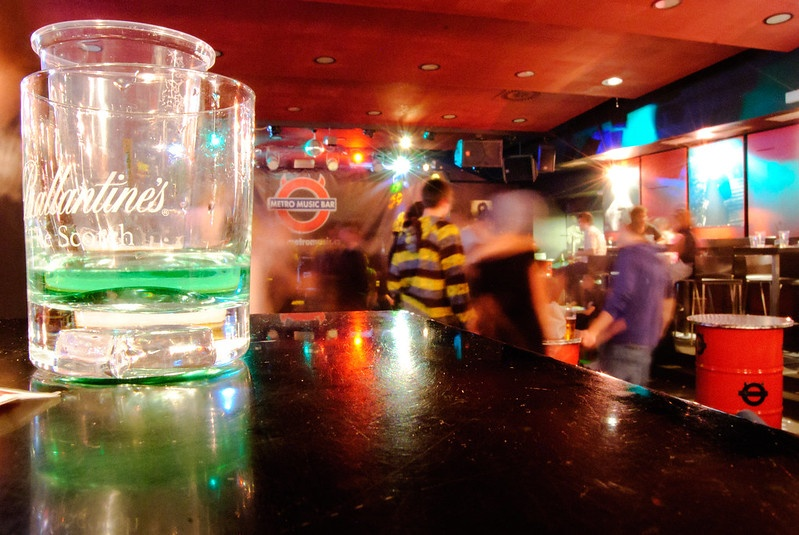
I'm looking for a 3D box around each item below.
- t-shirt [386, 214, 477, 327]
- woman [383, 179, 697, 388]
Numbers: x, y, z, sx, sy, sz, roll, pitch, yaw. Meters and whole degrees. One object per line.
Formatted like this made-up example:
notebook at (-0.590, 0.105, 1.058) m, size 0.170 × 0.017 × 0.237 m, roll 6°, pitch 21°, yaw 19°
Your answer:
t-shirt at (0.205, 0.060, 3.520) m, size 0.363 × 0.650 × 0.699 m, roll -2°, pitch 4°, yaw -35°
woman at (0.815, 0.171, 3.287) m, size 1.710 × 0.586 × 1.217 m, roll 22°, pitch -1°, yaw -42°
